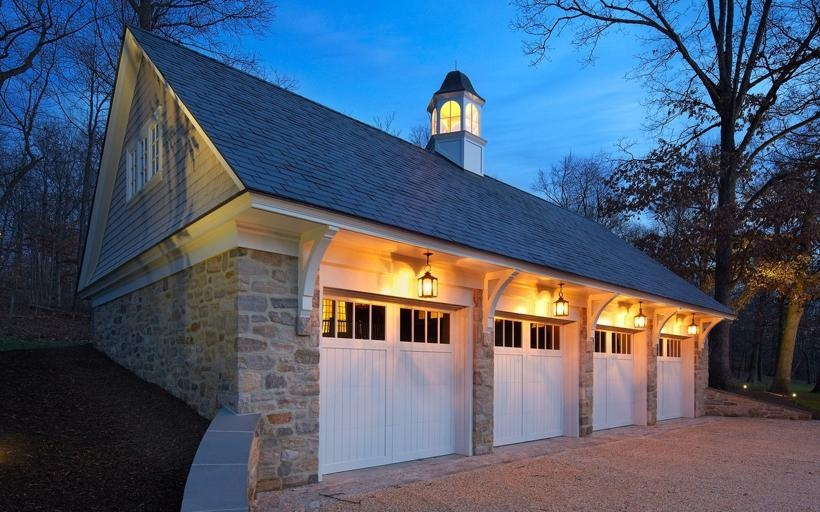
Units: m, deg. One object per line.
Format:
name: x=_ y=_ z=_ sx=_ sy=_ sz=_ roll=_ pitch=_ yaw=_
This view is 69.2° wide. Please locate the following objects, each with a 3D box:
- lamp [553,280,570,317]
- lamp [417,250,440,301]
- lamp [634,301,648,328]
lamp: x=4.186 y=1.210 z=16.516 sx=0.376 sy=0.805 sz=1.124 roll=2 pitch=-1 yaw=12
lamp: x=0.415 y=0.462 z=14.009 sx=0.469 sy=0.973 sz=0.704 roll=2 pitch=-1 yaw=1
lamp: x=7.377 y=1.886 z=19.016 sx=0.356 sy=0.668 sz=1.052 roll=2 pitch=-1 yaw=20
